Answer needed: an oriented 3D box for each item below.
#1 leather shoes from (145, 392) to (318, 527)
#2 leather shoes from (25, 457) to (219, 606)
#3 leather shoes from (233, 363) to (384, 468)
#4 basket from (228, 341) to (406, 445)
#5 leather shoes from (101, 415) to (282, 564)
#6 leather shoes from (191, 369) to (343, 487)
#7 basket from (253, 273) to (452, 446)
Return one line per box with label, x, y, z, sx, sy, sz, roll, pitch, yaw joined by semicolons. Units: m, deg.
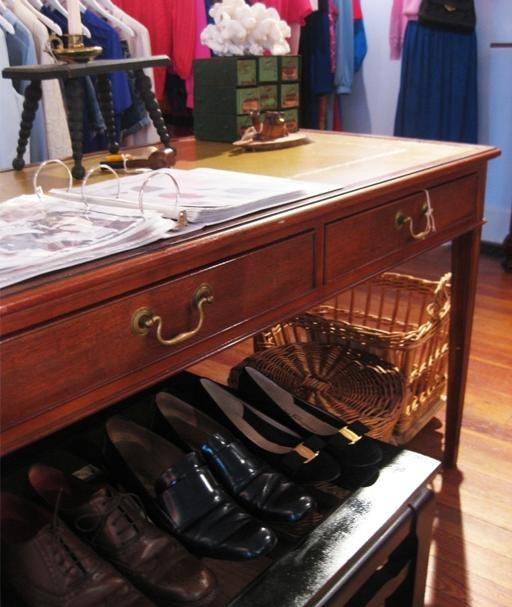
leather shoes;-0.074;0.230;0.786;0.316;0.088;0.105;31;34;16
leather shoes;-0.190;0.270;0.706;0.342;0.113;0.104;26;45;21
leather shoes;0.082;0.208;0.938;0.096;0.048;0.349;-32;29;-21
basket;0.156;0.204;1.134;0.326;0.092;0.367;9;10;9
leather shoes;-0.128;0.227;0.704;0.304;0.086;0.106;34;47;11
leather shoes;-0.006;0.205;0.881;0.089;0.036;0.365;-18;34;-36
basket;0.289;0.109;1.492;0.479;0.408;0.641;17;28;32
